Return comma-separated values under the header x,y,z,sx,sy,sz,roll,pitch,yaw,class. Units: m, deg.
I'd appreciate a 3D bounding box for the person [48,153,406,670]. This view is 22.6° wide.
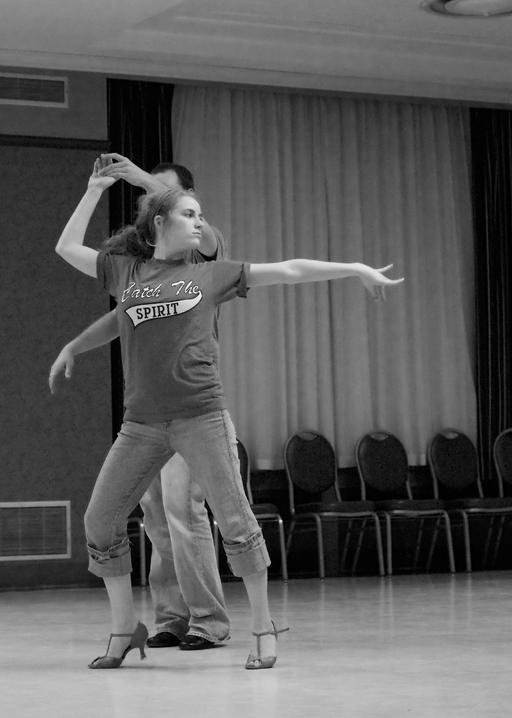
x,y,z,sx,sy,sz,roll,pitch,yaw,class
-0.216,0.138,3.897,0.817,1.597,0.355,0,-4,0,person

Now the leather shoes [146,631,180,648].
x,y,z,sx,sy,sz,roll,pitch,yaw,class
-0.319,0.965,4.397,0.126,0.048,0.045,9,-20,-19,leather shoes

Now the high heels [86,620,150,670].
x,y,z,sx,sy,sz,roll,pitch,yaw,class
-0.438,0.888,3.926,0.245,0.167,0.090,-5,-8,-6,high heels
